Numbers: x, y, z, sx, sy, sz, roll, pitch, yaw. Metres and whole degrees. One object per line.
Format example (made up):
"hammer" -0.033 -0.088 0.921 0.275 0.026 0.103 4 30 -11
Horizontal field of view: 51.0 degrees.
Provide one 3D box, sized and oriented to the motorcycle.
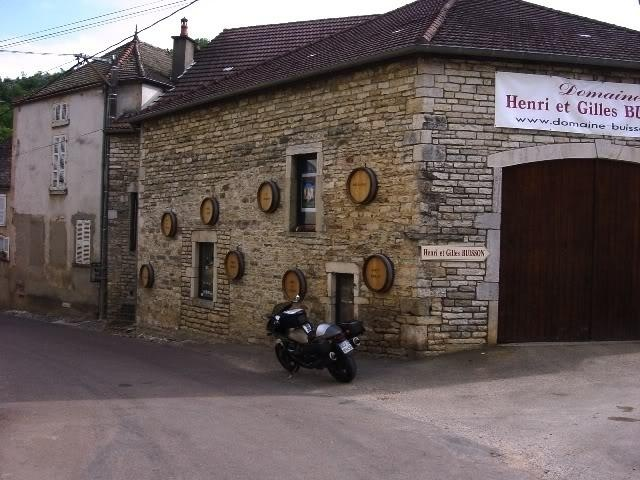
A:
"motorcycle" -0.161 1.710 11.115 0.755 1.212 2.060 -14 9 -36
